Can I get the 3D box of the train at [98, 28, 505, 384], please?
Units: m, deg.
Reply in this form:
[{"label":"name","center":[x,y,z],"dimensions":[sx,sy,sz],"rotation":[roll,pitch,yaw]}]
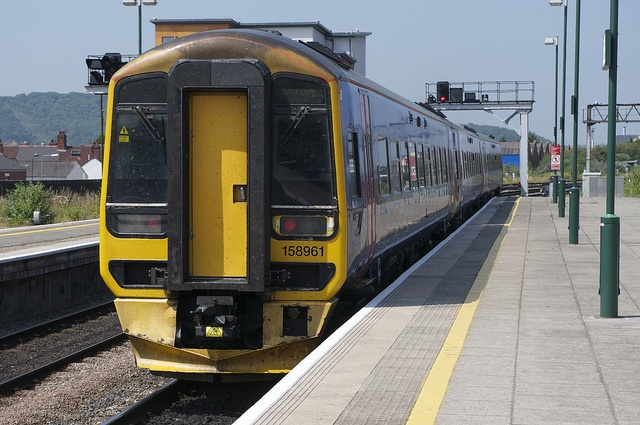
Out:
[{"label":"train","center":[-0.025,-0.354,9.906],"dimensions":[2.597,4.593,6.077],"rotation":[3,8,36]}]
